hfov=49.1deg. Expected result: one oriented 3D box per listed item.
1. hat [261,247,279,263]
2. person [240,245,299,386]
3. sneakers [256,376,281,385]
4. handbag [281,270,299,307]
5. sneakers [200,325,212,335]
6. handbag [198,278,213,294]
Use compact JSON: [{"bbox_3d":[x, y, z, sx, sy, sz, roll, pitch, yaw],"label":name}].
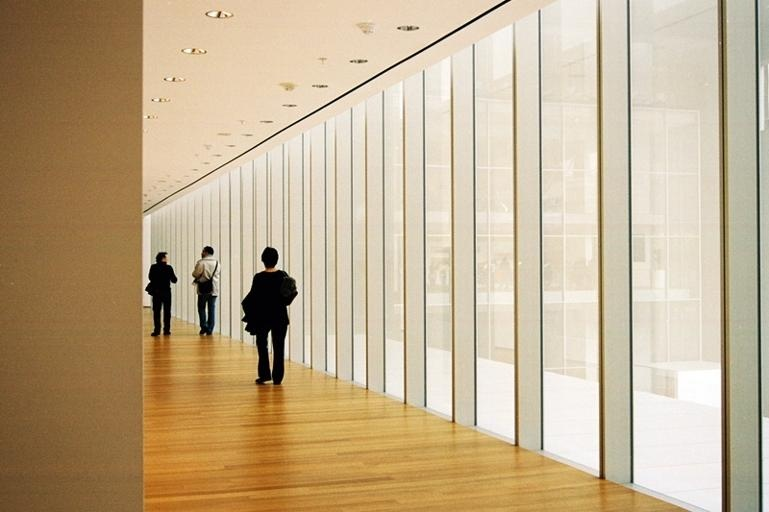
[{"bbox_3d":[-1.580,-0.009,11.722,0.194,0.259,0.256,6,-1,-12],"label":"hat"},{"bbox_3d":[-1.607,0.835,11.797,0.715,1.918,0.715,2,-2,-10],"label":"person"},{"bbox_3d":[-1.642,1.762,11.919,0.401,0.170,0.132,3,-7,-4],"label":"sneakers"},{"bbox_3d":[-1.315,0.463,11.697,0.188,0.449,0.382,2,-2,-6],"label":"handbag"},{"bbox_3d":[-3.940,1.671,18.756,0.158,0.206,0.473,4,-23,-22],"label":"sneakers"},{"bbox_3d":[-3.681,0.594,17.459,0.247,0.179,0.339,-5,-46,10],"label":"handbag"}]
